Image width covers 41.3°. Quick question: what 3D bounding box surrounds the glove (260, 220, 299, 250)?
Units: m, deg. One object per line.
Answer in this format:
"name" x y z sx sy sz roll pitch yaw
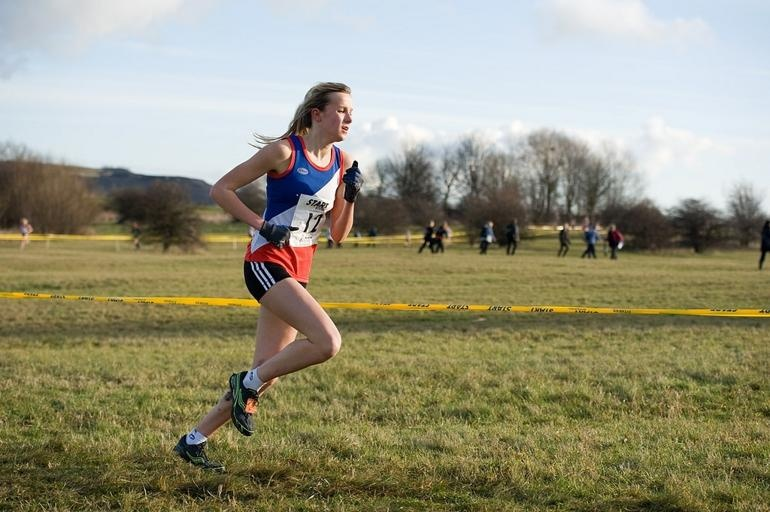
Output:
"glove" -1.248 -0.256 11.950 0.322 0.129 0.259 10 43 0
